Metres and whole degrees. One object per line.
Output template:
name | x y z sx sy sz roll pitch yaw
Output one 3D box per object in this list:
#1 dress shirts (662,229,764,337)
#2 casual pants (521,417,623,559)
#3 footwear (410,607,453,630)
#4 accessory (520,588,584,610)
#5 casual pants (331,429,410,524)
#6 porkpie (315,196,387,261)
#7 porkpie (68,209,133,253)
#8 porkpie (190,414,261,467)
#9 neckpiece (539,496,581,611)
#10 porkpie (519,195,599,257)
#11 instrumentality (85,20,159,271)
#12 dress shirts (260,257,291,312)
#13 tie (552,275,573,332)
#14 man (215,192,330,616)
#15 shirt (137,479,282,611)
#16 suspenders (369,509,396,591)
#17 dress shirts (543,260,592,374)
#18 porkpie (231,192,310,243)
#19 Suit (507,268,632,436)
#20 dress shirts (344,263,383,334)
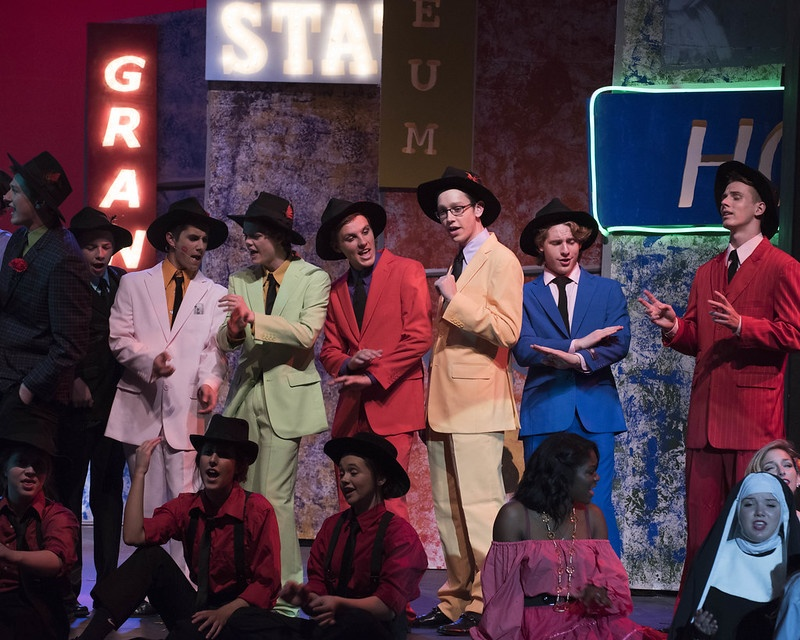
dress shirts | 1.733 -0.182 5.670 0.145 0.631 0.349 12 0 -34
casual pants | 1.045 0.847 5.862 0.430 0.891 0.226 -6 -3 -4
footwear | 0.185 1.684 5.860 0.241 0.107 0.090 6 -11 -16
accessory | 0.693 1.301 4.800 0.241 0.076 0.026 2 -2 4
casual pants | -0.081 0.845 5.781 0.350 0.551 0.197 -5 -8 24
porkpie | -0.334 -0.477 6.113 0.292 0.173 0.435 -10 -29 -26
porkpie | -1.904 -0.558 6.681 0.327 0.176 0.399 0 -21 -23
porkpie | -0.854 0.598 5.395 0.237 0.123 0.312 10 -26 19
neckpiece | 0.734 1.099 4.831 0.152 0.496 0.035 -1 -6 -5
porkpie | 0.901 -0.573 6.062 0.481 0.210 0.539 13 -4 -9
instrumentality | -2.094 -1.180 7.949 0.523 2.239 0.156 0 -18 -14
dress shirts | -0.725 -0.197 6.082 0.133 0.273 0.061 -4 -18 36
tie | 0.933 -0.085 5.980 0.075 0.315 0.091 -3 -11 3
man | -0.775 0.464 6.083 0.675 2.338 0.662 10 12 40
shirt | -0.893 1.142 5.397 0.769 0.770 0.538 -3 -13 17
suspenders | -0.084 1.121 5.076 0.056 0.268 0.188 5 -19 10
dress shirts | 0.936 0.016 5.849 0.290 0.613 0.134 1 -5 6
porkpie | -0.715 -0.573 6.086 0.298 0.148 0.374 21 -12 26
Suit | 0.971 0.333 5.886 0.559 1.485 0.497 -1 2 8
dress shirts | -0.243 -0.126 5.995 0.160 0.338 0.077 -7 -17 27
